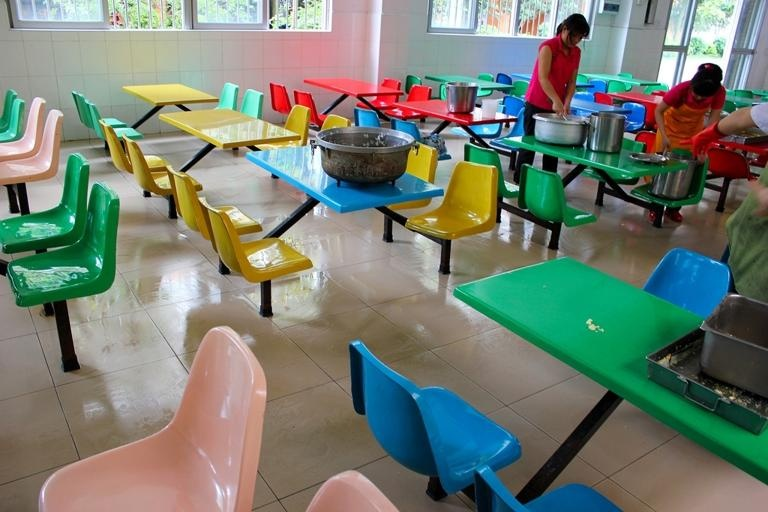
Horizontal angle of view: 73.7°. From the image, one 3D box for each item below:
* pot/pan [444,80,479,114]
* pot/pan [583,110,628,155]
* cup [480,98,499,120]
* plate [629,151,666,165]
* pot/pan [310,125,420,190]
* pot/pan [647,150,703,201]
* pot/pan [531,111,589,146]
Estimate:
[{"bbox_3d":[0.894,-1.836,6.001,0.387,0.273,0.360,-12,27,-21],"label":"pot/pan"},{"bbox_3d":[1.976,-1.140,4.725,0.367,0.393,0.356,0,23,-1],"label":"pot/pan"},{"bbox_3d":[1.208,-1.683,5.898,0.247,0.204,0.251,0,24,0],"label":"cup"},{"bbox_3d":[2.282,-0.851,4.448,0.205,0.034,0.200,-11,21,-29],"label":"plate"},{"bbox_3d":[-0.200,-0.702,3.551,0.587,0.240,0.533,-18,28,-39],"label":"pot/pan"},{"bbox_3d":[2.694,-0.732,4.726,0.371,0.320,0.392,-17,28,-37],"label":"pot/pan"},{"bbox_3d":[1.608,-1.159,4.771,0.365,0.156,0.408,-4,16,-20],"label":"pot/pan"}]
